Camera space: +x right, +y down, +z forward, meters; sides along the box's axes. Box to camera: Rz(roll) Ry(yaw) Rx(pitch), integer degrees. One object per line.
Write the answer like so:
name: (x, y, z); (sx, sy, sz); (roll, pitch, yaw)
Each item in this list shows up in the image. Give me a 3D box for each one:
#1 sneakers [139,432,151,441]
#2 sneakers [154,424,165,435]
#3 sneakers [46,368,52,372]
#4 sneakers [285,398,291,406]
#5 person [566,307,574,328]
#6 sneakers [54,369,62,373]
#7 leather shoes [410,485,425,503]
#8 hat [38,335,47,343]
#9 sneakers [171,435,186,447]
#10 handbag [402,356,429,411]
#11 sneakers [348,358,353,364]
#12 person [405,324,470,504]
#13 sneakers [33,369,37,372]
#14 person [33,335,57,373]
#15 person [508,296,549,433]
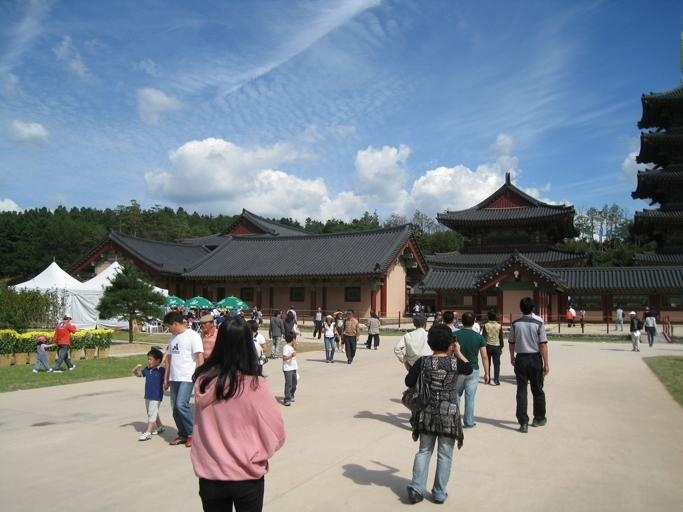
sneakers: (-3.721, 3.402, 10.450); (0.238, 0.140, 0.310); (2, -9, -15)
sneakers: (-3.606, 3.437, 10.903); (0.085, 0.107, 0.243); (-3, -9, 8)
sneakers: (-8.790, 3.429, 16.561); (0.165, 0.078, 0.080); (-6, -3, 29)
sneakers: (-1.262, 3.433, 12.992); (0.158, 0.155, 0.268); (0, -8, -7)
person: (15.619, 4.112, 37.519); (0.533, 1.465, 2.574); (-4, -9, 24)
sneakers: (-8.529, 3.461, 16.584); (0.225, 0.100, 0.088); (1, -7, -1)
leather shoes: (1.069, 3.468, 7.974); (0.221, 0.236, 0.181); (2, -1, -18)
hat: (-8.902, 2.498, 16.387); (0.138, 0.217, 0.442); (5, -10, -33)
sneakers: (-3.011, 3.425, 10.207); (0.276, 0.131, 0.147); (4, -7, -6)
handbag: (1.076, 1.896, 8.058); (0.371, 0.765, 0.217); (-7, -10, 40)
sneakers: (0.325, 3.767, 19.779); (0.222, 0.120, 0.317); (-1, 1, 0)
person: (1.388, 2.313, 8.110); (0.892, 2.580, 0.492); (-2, -8, 13)
sneakers: (-9.065, 3.406, 16.346); (0.125, 0.075, 0.089); (-2, -8, -33)
person: (-9.084, 2.989, 16.858); (0.517, 1.056, 1.551); (4, -9, -28)
person: (3.835, 2.169, 11.259); (0.720, 2.677, 1.142); (-3, -8, 18)
